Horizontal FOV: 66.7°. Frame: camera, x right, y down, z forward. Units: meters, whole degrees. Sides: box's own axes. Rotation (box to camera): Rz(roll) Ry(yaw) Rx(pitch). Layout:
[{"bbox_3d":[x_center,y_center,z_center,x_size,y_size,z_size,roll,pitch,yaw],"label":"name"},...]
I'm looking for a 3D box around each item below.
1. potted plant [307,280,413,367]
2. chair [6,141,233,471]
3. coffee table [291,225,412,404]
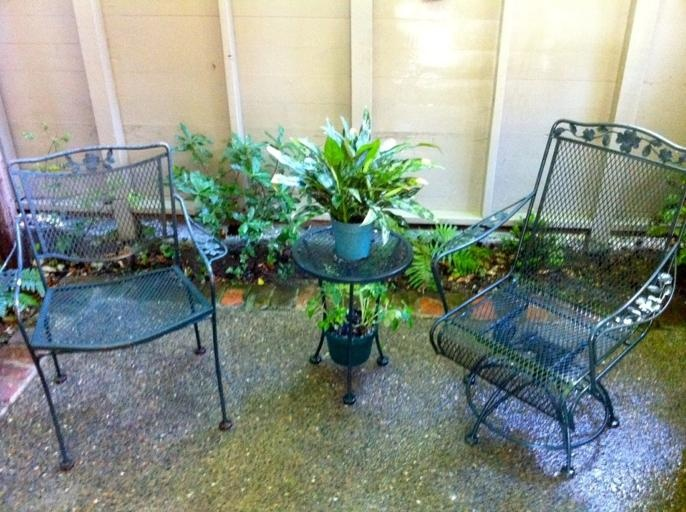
[{"bbox_3d":[0.113,0.329,2.989,0.421,0.421,0.603,7,11,13],"label":"potted plant"},{"bbox_3d":[-1.197,0.309,2.776,1.132,1.516,1.044,-11,48,-23],"label":"chair"},{"bbox_3d":[0.039,0.223,3.015,0.818,0.976,0.847,-2,37,-1],"label":"coffee table"}]
